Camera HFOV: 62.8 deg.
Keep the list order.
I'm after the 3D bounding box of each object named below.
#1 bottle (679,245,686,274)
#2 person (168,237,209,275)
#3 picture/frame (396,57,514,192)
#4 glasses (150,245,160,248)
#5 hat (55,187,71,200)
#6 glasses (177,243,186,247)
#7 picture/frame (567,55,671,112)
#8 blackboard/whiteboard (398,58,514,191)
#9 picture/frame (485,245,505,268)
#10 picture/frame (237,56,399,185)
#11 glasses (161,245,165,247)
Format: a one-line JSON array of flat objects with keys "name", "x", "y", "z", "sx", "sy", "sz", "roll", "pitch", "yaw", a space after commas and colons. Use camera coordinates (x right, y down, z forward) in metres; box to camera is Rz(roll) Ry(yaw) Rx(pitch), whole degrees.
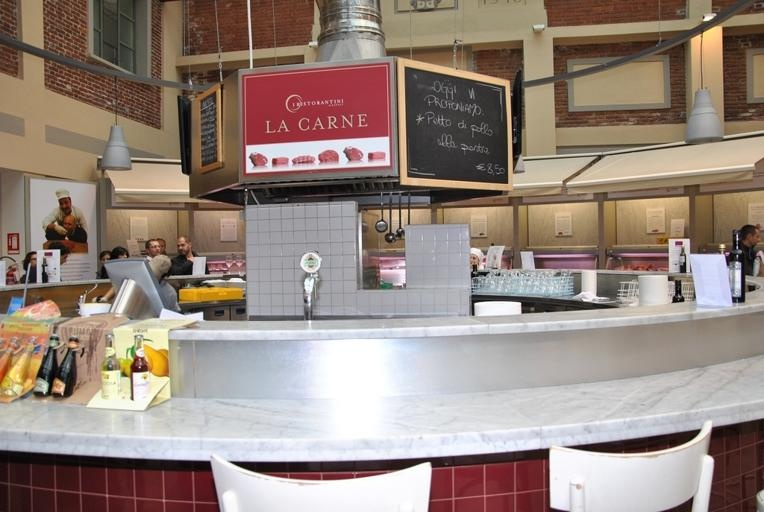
[{"name": "bottle", "x": 3.307, "y": 0.012, "z": 6.894, "sx": 0.084, "sy": 0.306, "sz": 0.404, "roll": -1, "pitch": 1, "yaw": 26}, {"name": "person", "x": -3.050, "y": 0.112, "z": 9.786, "sx": 0.559, "sy": 0.766, "sz": 0.355, "roll": 1, "pitch": -16, "yaw": -33}, {"name": "picture/frame", "x": 0.628, "y": -1.095, "z": 5.456, "sx": 1.301, "sy": 1.131, "sz": 0.107, "roll": 1, "pitch": -3, "yaw": -31}, {"name": "glasses", "x": -3.083, "y": -0.139, "z": 8.605, "sx": 0.047, "sy": 0.057, "sz": 0.134, "roll": -1, "pitch": 1, "yaw": 27}, {"name": "hat", "x": -5.276, "y": -1.039, "z": 10.386, "sx": 0.188, "sy": 0.136, "sz": 0.252, "roll": -4, "pitch": -6, "yaw": -17}, {"name": "glasses", "x": -3.094, "y": -0.171, "z": 9.741, "sx": 0.077, "sy": 0.037, "sz": 0.086, "roll": -1, "pitch": -5, "yaw": 14}, {"name": "picture/frame", "x": 4.591, "y": -3.305, "z": 12.042, "sx": 1.880, "sy": 1.032, "sz": 0.181, "roll": -1, "pitch": 1, "yaw": 3}, {"name": "blackboard/whiteboard", "x": 0.635, "y": -1.098, "z": 5.452, "sx": 1.216, "sy": 1.057, "sz": 0.100, "roll": 1, "pitch": -4, "yaw": -31}, {"name": "picture/frame", "x": 1.609, "y": 0.020, "z": 8.924, "sx": 0.226, "sy": 0.319, "sz": 0.814, "roll": -1, "pitch": 0, "yaw": 9}, {"name": "picture/frame", "x": -0.501, "y": -1.116, "z": 5.254, "sx": 0.984, "sy": 0.741, "sz": 0.106, "roll": -1, "pitch": 2, "yaw": 11}, {"name": "glasses", "x": -3.071, "y": -0.142, "z": 8.819, "sx": 0.029, "sy": 0.040, "sz": 0.039, "roll": 1, "pitch": 15, "yaw": -6}]
